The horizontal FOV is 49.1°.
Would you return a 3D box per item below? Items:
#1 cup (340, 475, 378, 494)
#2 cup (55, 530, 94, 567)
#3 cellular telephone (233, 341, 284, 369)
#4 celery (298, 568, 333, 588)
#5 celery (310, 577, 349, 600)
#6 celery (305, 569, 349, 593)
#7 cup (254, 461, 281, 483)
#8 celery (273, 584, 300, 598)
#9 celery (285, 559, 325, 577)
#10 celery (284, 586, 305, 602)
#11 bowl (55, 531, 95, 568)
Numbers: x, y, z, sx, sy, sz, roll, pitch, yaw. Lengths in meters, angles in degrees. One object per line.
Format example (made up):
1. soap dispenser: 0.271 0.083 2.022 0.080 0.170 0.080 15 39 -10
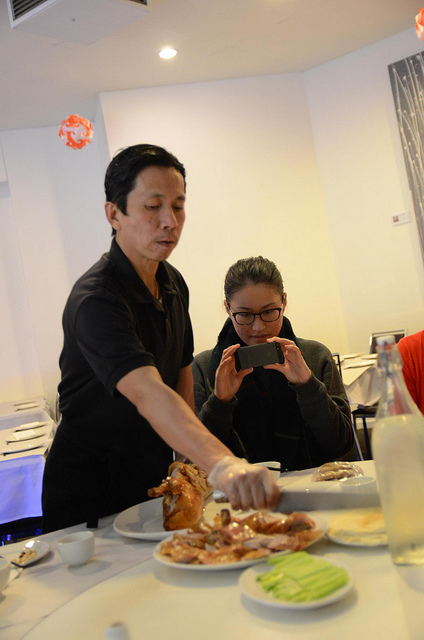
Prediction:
1. cup: 0.239 0.262 0.741 0.038 0.031 0.041 -4 -13 -1
2. cup: -0.234 0.400 0.817 0.066 0.048 0.068 -8 -30 -5
3. cellular telephone: 0.137 0.108 1.416 0.156 0.074 0.040 -15 -4 40
4. celery: 0.118 0.303 0.550 0.011 0.008 0.053 23 12 33
5. celery: 0.138 0.304 0.530 0.050 0.013 0.009 -8 11 -42
6. celery: 0.134 0.303 0.543 0.017 0.011 0.076 25 -29 -9
7. cup: 0.125 0.339 1.064 0.058 0.058 0.067 -2 -25 0
8. celery: 0.087 0.316 0.544 0.014 0.004 0.015 -16 -2 29
9. celery: 0.116 0.315 0.591 0.072 0.010 0.017 -4 -33 -23
10. celery: 0.094 0.313 0.534 0.011 0.005 0.017 -2 10 23
11. bowl: -0.237 0.398 0.815 0.059 0.048 0.062 -3 -28 -2
